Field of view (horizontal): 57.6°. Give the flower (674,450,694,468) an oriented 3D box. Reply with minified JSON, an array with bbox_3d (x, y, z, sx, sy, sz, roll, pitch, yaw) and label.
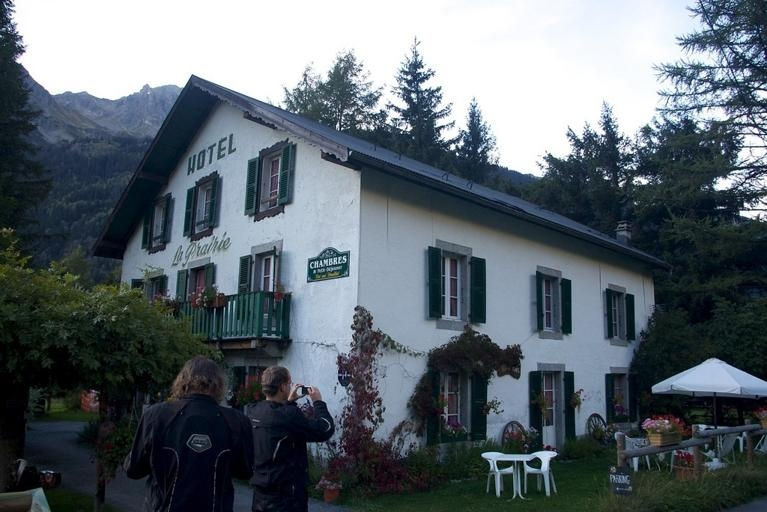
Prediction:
[{"bbox_3d":[7.461,5.041,17.411,0.378,0.374,0.719,-4,-16,19],"label":"flower"}]

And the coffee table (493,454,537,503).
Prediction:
[{"bbox_3d":[3.053,5.116,16.005,0.765,0.824,0.827,1,-12,14],"label":"coffee table"}]

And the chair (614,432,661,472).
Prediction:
[{"bbox_3d":[7.021,5.349,19.041,0.816,0.940,3.696,-4,-16,20],"label":"chair"}]

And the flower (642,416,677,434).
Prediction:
[{"bbox_3d":[6.483,4.073,16.813,0.641,0.409,0.702,5,-12,-22],"label":"flower"}]

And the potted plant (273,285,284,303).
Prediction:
[{"bbox_3d":[-2.685,0.959,18.003,0.242,0.451,0.150,1,4,-7],"label":"potted plant"}]

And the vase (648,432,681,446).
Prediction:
[{"bbox_3d":[6.619,4.295,16.458,0.744,0.360,0.538,-1,-15,7],"label":"vase"}]

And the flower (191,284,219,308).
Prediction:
[{"bbox_3d":[-4.798,1.056,18.969,0.573,0.424,0.779,5,-10,-40],"label":"flower"}]
